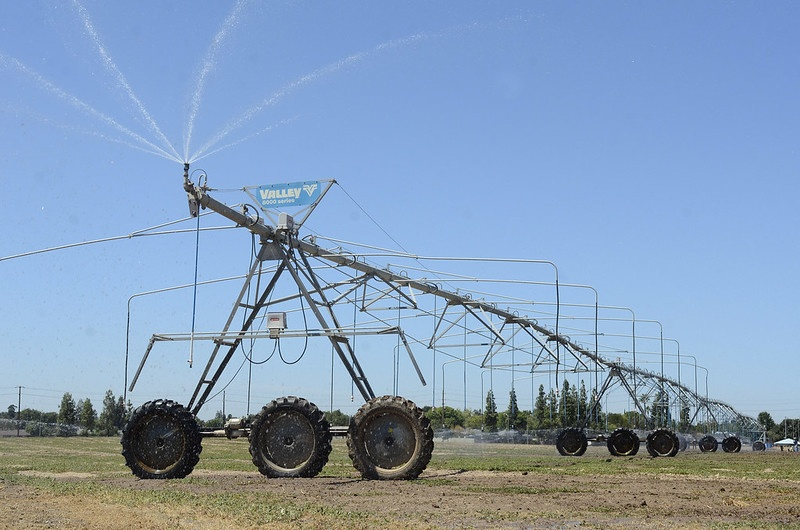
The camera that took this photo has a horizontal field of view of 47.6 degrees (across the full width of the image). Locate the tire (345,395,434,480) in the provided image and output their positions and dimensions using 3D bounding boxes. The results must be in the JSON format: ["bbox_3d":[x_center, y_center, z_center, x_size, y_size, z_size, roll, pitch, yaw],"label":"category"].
[{"bbox_3d":[-0.400,6.414,33.176,3.109,3.368,1.063,-4,-4,10],"label":"tire"}]

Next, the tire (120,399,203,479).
[{"bbox_3d":[-9.135,6.723,34.316,2.990,3.223,0.969,-3,-9,-3],"label":"tire"}]
